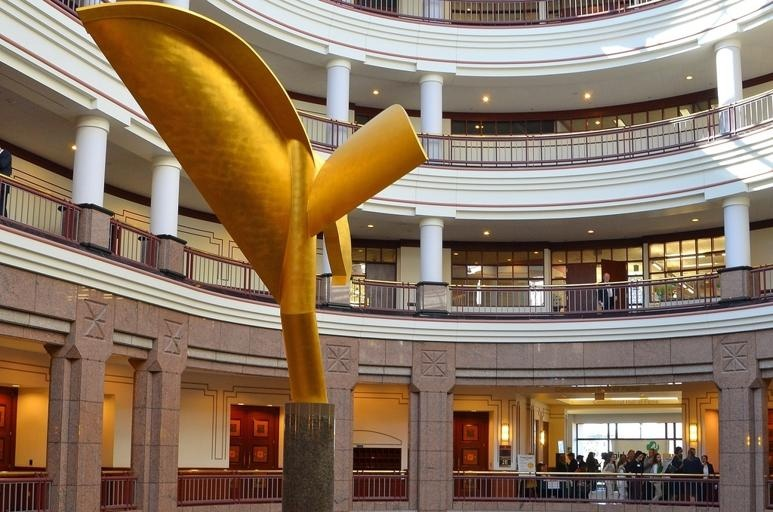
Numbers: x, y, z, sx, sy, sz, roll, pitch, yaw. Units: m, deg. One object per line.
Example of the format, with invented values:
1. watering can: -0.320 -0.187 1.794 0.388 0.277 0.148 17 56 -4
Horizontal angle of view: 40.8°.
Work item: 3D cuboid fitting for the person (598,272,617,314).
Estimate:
1. person: 7.112 1.238 33.492 0.529 0.357 1.534 -2 -61 10
